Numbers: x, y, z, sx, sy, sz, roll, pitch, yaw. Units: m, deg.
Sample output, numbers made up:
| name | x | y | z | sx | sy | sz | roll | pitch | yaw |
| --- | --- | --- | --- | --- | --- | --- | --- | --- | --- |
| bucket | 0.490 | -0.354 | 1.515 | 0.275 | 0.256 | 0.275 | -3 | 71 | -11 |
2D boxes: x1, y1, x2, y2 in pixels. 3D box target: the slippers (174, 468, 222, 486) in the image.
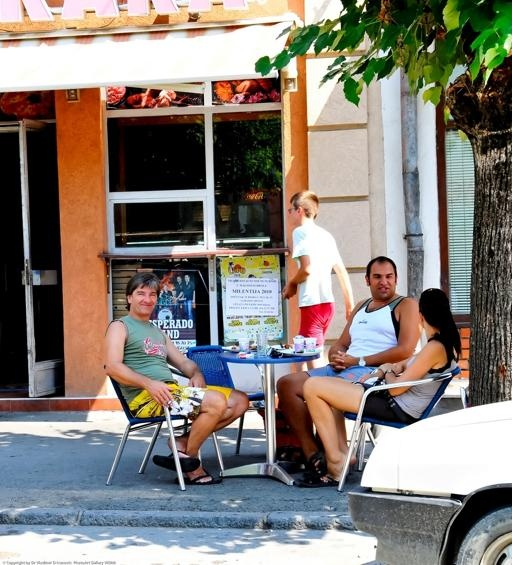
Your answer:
| name | x | y | z | sx | sy | sz | roll | pitch | yaw |
| --- | --- | --- | --- | --- | --- | --- | --- | --- | --- |
| slippers | -0.397 | 1.309 | 6.639 | 0.278 | 0.060 | 0.101 | -2 | -1 | 14 |

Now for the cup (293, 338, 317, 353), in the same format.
| name | x | y | z | sx | sy | sz | roll | pitch | yaw |
| --- | --- | --- | --- | --- | --- | --- | --- | --- | --- |
| cup | 0.344 | 0.431 | 6.783 | 0.160 | 0.084 | 0.110 | 0 | -7 | -6 |

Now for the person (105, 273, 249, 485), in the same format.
| name | x | y | z | sx | sy | sz | roll | pitch | yaw |
| --- | --- | --- | --- | --- | --- | --- | --- | --- | --- |
| person | -0.550 | 0.640 | 6.719 | 0.729 | 1.174 | 0.756 | -3 | 2 | 32 |

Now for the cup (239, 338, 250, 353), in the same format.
| name | x | y | z | sx | sy | sz | roll | pitch | yaw |
| --- | --- | --- | --- | --- | --- | --- | --- | --- | --- |
| cup | -0.080 | 0.424 | 6.828 | 0.095 | 0.085 | 0.089 | 1 | 0 | 0 |
